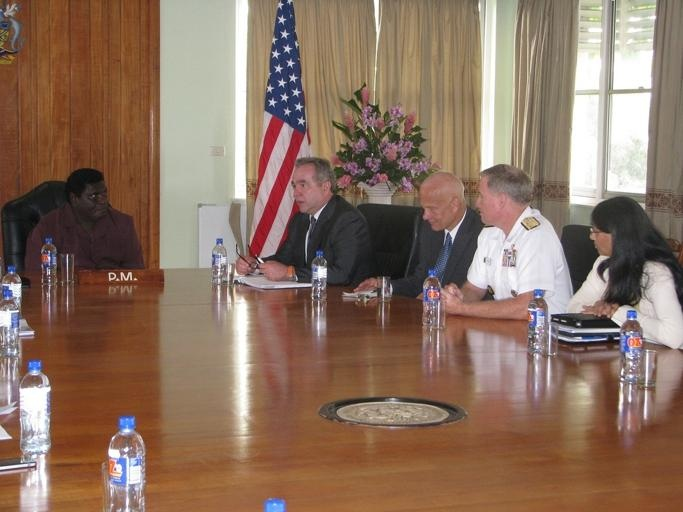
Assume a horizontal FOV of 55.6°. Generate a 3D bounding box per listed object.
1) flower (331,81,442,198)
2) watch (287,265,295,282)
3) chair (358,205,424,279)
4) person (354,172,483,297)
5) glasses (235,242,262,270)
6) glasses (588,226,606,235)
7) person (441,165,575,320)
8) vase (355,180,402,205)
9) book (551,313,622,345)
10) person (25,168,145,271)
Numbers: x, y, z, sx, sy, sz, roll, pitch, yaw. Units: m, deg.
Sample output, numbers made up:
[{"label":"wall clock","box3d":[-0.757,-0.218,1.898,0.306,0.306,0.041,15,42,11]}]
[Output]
[{"label":"flower","box3d":[0.268,-0.941,5.736,1.007,1.103,1.015,-4,10,-8]},{"label":"watch","box3d":[-0.301,0.097,3.903,0.047,0.077,0.069,0,-25,-1]},{"label":"chair","box3d":[0.346,-0.109,4.495,0.408,0.604,0.474,4,4,40]},{"label":"person","box3d":[0.482,0.001,3.841,0.656,0.865,0.565,-4,2,-24]},{"label":"glasses","box3d":[-0.735,-0.010,5.087,0.178,0.056,0.174,36,12,35]},{"label":"glasses","box3d":[1.178,-0.117,2.977,0.080,0.026,0.080,2,2,-5]},{"label":"person","box3d":[0.912,-0.107,3.482,0.732,1.035,0.763,0,4,4]},{"label":"vase","box3d":[0.316,-0.530,5.530,0.248,0.270,0.259,3,6,29]},{"label":"book","box3d":[0.993,0.289,2.604,0.175,0.049,0.176,-1,5,-25]},{"label":"person","box3d":[-1.740,-0.254,4.370,0.723,0.667,0.246,-1,4,-26]}]
